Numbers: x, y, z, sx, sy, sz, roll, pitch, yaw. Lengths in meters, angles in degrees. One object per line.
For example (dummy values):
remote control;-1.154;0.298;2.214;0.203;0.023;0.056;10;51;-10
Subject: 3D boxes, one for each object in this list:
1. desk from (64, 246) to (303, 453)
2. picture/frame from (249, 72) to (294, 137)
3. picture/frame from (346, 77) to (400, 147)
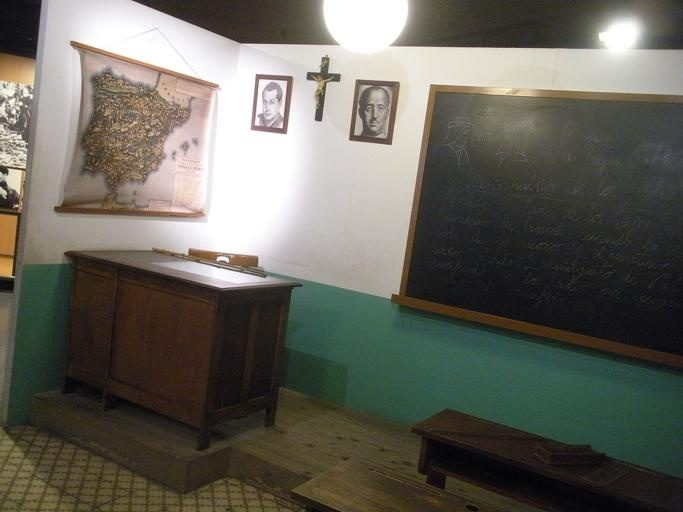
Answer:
desk;-1.289;0.607;3.837;1.682;1.048;0.869;8;2;29
picture/frame;-0.618;-1.377;4.565;0.529;0.685;0.023;10;7;21
picture/frame;0.277;-1.184;4.159;0.535;0.652;0.050;10;8;25
